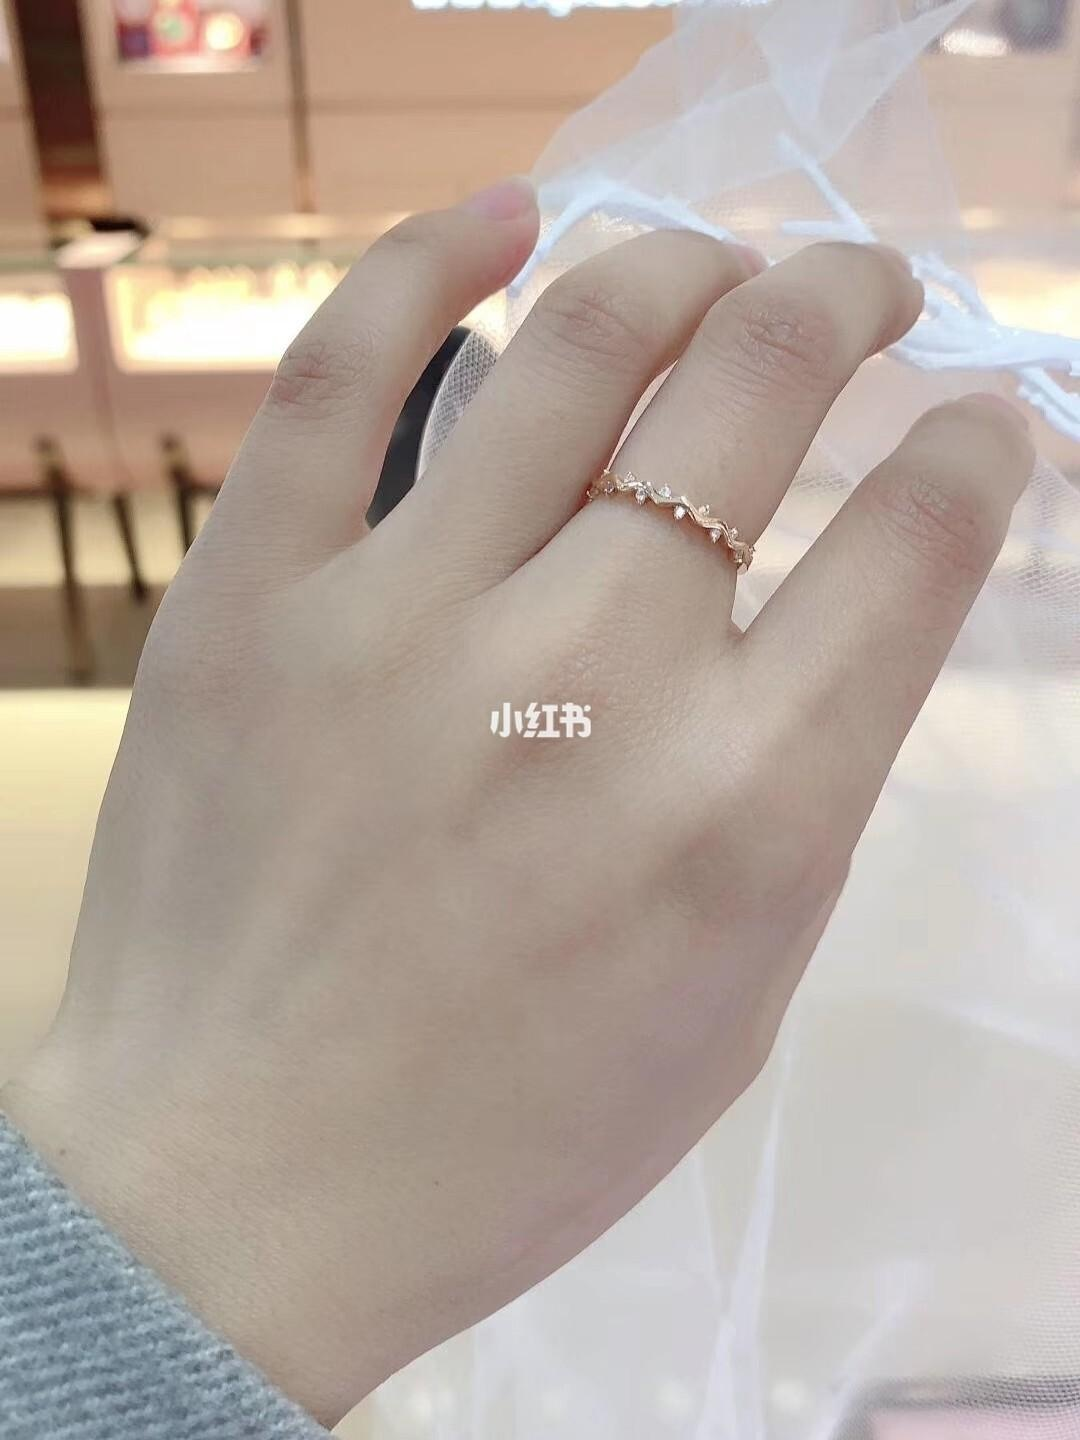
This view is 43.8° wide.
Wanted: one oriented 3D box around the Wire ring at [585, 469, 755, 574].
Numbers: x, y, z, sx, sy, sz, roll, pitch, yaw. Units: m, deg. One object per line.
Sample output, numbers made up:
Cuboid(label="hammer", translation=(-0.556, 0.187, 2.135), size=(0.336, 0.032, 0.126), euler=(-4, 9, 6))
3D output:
Cuboid(label="Wire ring", translation=(0.073, -0.104, 0.727), size=(0.024, 0.070, 0.055), euler=(-59, 20, -11))
